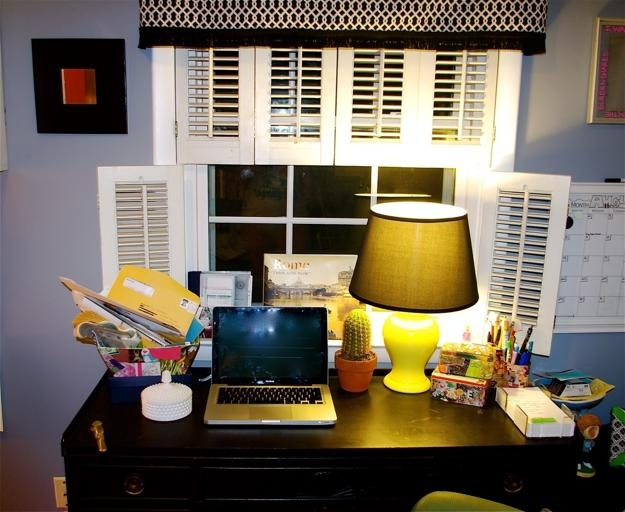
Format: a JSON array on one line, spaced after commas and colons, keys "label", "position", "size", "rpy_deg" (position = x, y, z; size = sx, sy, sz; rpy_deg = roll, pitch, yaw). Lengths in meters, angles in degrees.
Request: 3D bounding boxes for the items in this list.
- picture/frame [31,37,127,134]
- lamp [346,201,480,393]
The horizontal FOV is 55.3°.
[{"label": "picture/frame", "position": [-0.910, -0.690, 2.333], "size": [0.327, 0.352, 0.023], "rpy_deg": [0, 8, -2]}, {"label": "lamp", "position": [0.370, 0.177, 2.227], "size": [0.440, 0.632, 0.444], "rpy_deg": [-6, 13, -44]}]
